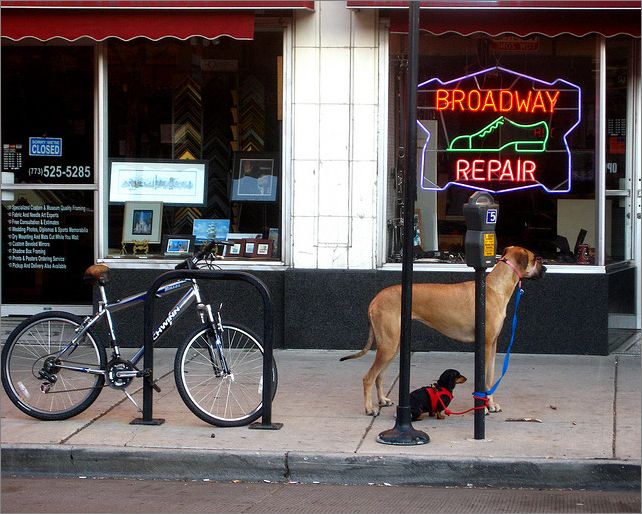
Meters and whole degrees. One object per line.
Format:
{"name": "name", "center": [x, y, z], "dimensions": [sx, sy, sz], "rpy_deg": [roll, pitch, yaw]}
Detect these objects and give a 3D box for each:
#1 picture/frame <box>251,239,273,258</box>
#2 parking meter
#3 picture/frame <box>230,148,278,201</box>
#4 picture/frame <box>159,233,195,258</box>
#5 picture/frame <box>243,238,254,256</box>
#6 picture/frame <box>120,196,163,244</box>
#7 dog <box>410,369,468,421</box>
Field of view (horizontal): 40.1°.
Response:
{"name": "picture/frame", "center": [-0.732, -0.087, 10.864], "dimensions": [0.237, 0.236, 0.023], "rpy_deg": [1, -26, 5]}
{"name": "parking meter", "center": [1.367, 0.486, 7.542], "dimensions": [0.286, 2.051, 0.734], "rpy_deg": [0, 3, 10]}
{"name": "picture/frame", "center": [-0.822, -1.019, 10.965], "dimensions": [0.660, 0.658, 0.076], "rpy_deg": [1, -5, 12]}
{"name": "picture/frame", "center": [-1.836, -0.125, 11.031], "dimensions": [0.334, 0.277, 0.034], "rpy_deg": [2, -27, -4]}
{"name": "picture/frame", "center": [-0.910, -0.103, 10.886], "dimensions": [0.204, 0.272, 0.022], "rpy_deg": [2, -24, -2]}
{"name": "picture/frame", "center": [-2.290, -0.431, 11.038], "dimensions": [0.572, 0.647, 0.044], "rpy_deg": [3, -9, -10]}
{"name": "dog", "center": [1.001, 1.265, 8.027], "dimensions": [0.643, 0.432, 0.230], "rpy_deg": [-3, 8, -11]}
